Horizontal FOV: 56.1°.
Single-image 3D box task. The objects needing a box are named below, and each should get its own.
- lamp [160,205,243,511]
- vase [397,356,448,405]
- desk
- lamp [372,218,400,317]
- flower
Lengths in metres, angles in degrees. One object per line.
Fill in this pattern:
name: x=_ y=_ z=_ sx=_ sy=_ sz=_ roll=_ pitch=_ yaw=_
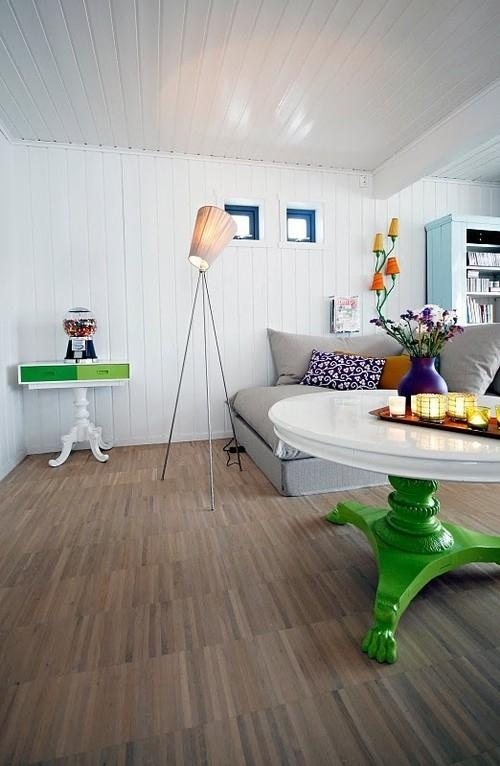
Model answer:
lamp: x=-0.304 y=-0.251 z=2.886 sx=0.540 sy=1.563 sz=1.527 roll=-1 pitch=6 yaw=-6
vase: x=0.614 y=-0.002 z=1.667 sx=0.161 sy=0.185 sz=0.176 roll=-3 pitch=11 yaw=20
desk: x=-1.148 y=0.160 z=3.194 sx=0.610 sy=0.709 sz=0.459 roll=0 pitch=11 yaw=-17
lamp: x=1.136 y=-0.972 z=3.927 sx=0.234 sy=0.813 sz=0.336 roll=1 pitch=6 yaw=18
flower: x=0.591 y=-0.188 z=1.714 sx=0.258 sy=0.175 sz=0.290 roll=-2 pitch=7 yaw=-10
